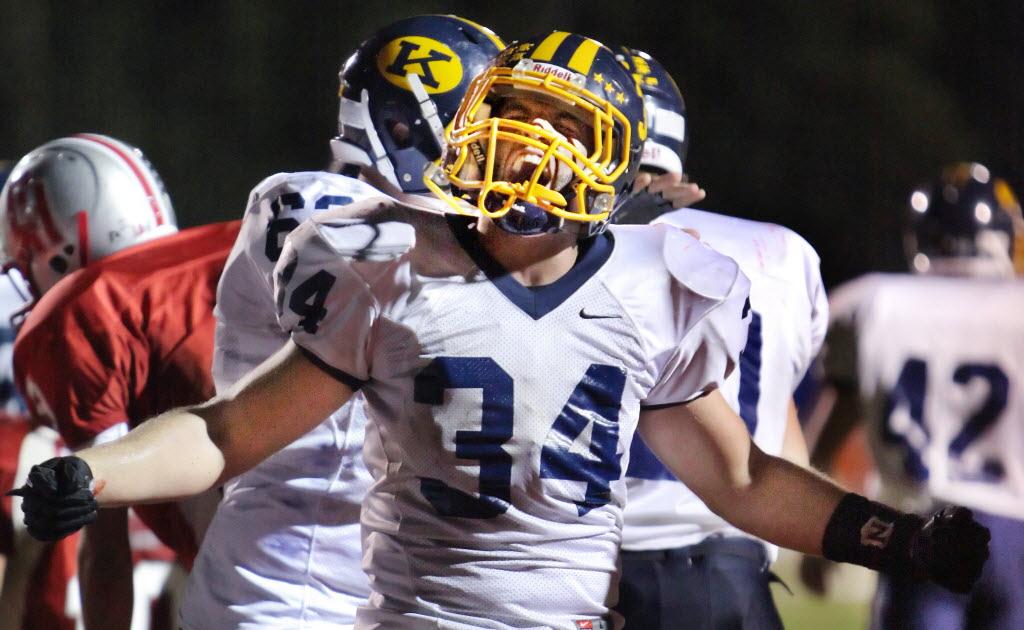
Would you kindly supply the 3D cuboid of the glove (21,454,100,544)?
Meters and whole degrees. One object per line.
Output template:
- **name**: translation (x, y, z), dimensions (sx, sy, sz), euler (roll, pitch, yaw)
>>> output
- **glove**: translation (-1.436, 0.581, 4.544), dimensions (0.281, 0.207, 0.139), euler (-43, 1, 1)

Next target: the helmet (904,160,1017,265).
- **helmet**: translation (2.060, -0.493, 6.613), dimensions (0.481, 0.536, 0.479), euler (0, 7, 0)
